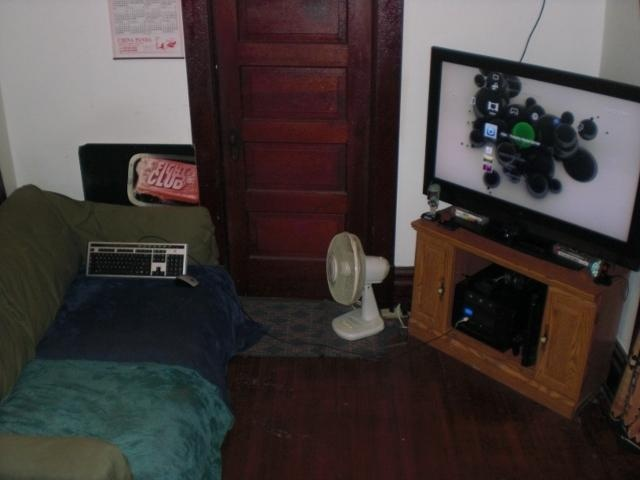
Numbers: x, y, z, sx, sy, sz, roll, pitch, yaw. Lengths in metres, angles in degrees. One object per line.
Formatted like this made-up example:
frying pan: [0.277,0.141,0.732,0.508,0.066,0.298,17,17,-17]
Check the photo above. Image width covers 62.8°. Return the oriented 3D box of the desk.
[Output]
desk: [1.204,0.454,3.170,0.367,0.731,0.951,-26,41,-35]

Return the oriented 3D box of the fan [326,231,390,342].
fan: [0.259,0.319,3.660,0.390,0.675,0.433,-9,30,-13]

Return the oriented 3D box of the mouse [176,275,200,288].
mouse: [-0.839,0.258,3.364,0.114,0.036,0.073,16,21,0]
